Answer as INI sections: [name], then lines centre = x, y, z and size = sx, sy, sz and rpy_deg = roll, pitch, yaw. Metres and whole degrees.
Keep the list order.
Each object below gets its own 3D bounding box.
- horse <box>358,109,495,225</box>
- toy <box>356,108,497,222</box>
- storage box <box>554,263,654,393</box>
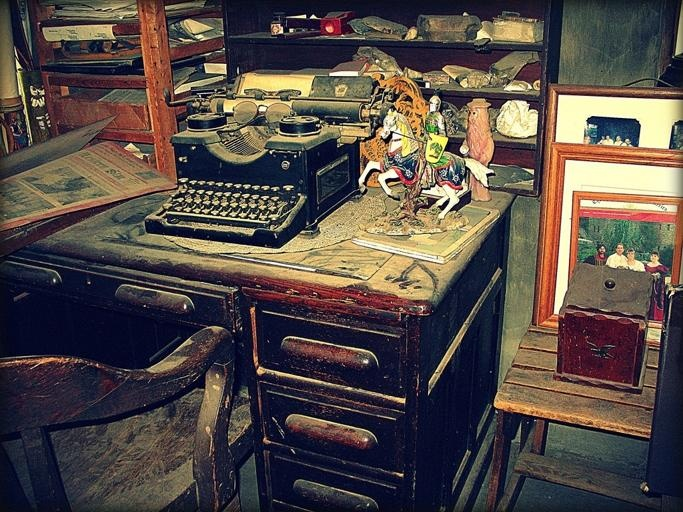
[horse]
centre = 0.272, -0.292, 1.669
size = 0.437, 0.295, 0.137
rpy_deg = 3, 15, -16
[toy]
centre = 0.272, -0.291, 1.669
size = 0.461, 0.305, 0.151
rpy_deg = 2, 14, -19
[storage box]
centre = 0.815, 0.195, 1.767
size = 0.312, 0.335, 0.405
rpy_deg = 8, 39, 26
